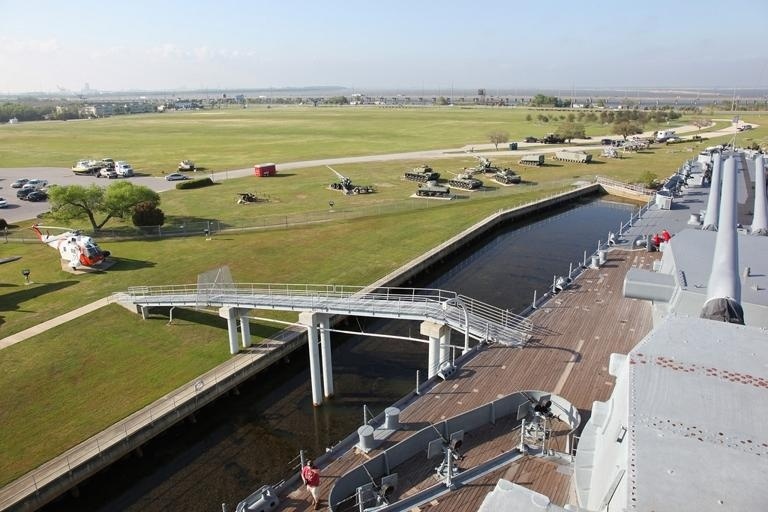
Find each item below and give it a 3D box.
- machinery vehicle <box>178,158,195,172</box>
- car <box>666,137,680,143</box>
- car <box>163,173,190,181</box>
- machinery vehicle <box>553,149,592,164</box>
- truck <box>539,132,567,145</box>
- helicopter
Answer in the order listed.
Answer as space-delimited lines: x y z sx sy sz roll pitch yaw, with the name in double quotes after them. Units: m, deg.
-38.664 -18.196 118.177 4.612 2.238 3.990 0 4 -26 "machinery vehicle"
78.875 -31.722 159.906 3.313 1.489 3.606 -6 14 3 "car"
-37.497 -14.380 106.482 4.253 1.141 3.758 1 16 12 "car"
41.117 -21.360 125.973 4.260 1.566 6.464 -19 22 -39 "machinery vehicle"
46.121 -32.078 160.525 6.719 2.217 3.479 -4 7 -30 "truck"
-33.897 -1.063 62.623 9.579 2.548 7.258 17 24 29 "helicopter"
